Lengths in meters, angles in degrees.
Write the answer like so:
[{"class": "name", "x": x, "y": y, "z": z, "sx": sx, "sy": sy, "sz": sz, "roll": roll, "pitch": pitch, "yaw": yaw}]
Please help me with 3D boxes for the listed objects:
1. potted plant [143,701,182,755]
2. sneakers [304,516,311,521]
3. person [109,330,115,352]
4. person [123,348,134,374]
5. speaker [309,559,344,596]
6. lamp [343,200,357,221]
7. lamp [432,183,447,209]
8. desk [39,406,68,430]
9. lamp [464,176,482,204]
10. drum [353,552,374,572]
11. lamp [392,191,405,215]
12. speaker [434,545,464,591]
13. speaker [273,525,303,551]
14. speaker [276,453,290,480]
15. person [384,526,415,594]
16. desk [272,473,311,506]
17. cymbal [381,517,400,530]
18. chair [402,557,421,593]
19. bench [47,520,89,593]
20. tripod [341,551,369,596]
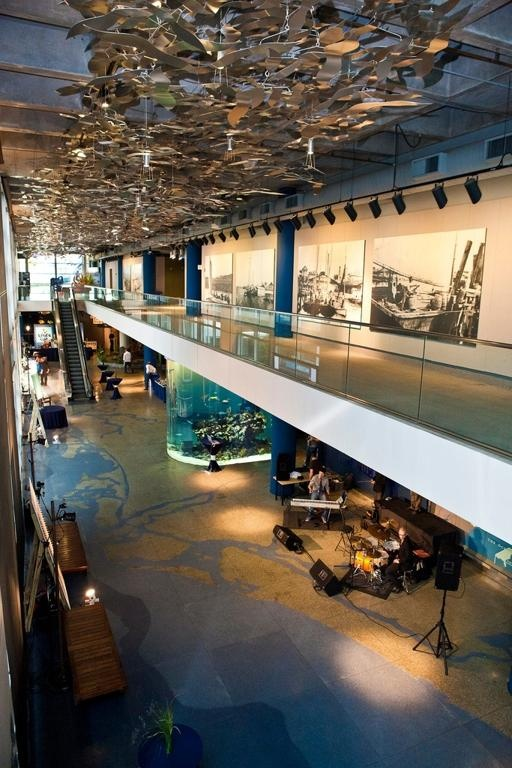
[{"class": "potted plant", "x": -0.973, "y": 3.557, "z": 5.319, "sx": 0.248, "sy": 0.382, "sz": 0.371, "roll": 7, "pitch": 25, "yaw": 29}, {"class": "sneakers", "x": 1.108, "y": 2.940, "z": 11.304, "sx": 0.067, "sy": 0.085, "sz": 0.200, "roll": 0, "pitch": -7, "yaw": 14}, {"class": "person", "x": -10.541, "y": -3.170, "z": 37.807, "sx": 0.398, "sy": 1.389, "sz": 1.053, "roll": -2, "pitch": 9, "yaw": -16}, {"class": "person", "x": -7.352, "y": -1.299, "z": 29.509, "sx": 0.373, "sy": 1.247, "sz": 1.933, "roll": -2, "pitch": 9, "yaw": -16}, {"class": "speaker", "x": 1.141, "y": 3.201, "z": 8.507, "sx": 0.278, "sy": 0.472, "sz": 0.434, "roll": -35, "pitch": -1, "yaw": -1}, {"class": "lamp", "x": 1.750, "y": -3.217, "z": 9.598, "sx": 0.168, "sy": 0.405, "sz": 0.718, "roll": 3, "pitch": 9, "yaw": 13}, {"class": "lamp", "x": 2.757, "y": -2.841, "z": 7.835, "sx": 0.187, "sy": 0.425, "sz": 0.976, "roll": 4, "pitch": 9, "yaw": 19}, {"class": "desk", "x": -7.008, "y": 1.197, "z": 17.971, "sx": 0.827, "sy": 0.657, "sz": 0.568, "roll": -3, "pitch": 10, "yaw": -23}, {"class": "lamp", "x": 2.877, "y": -2.597, "z": 6.910, "sx": 0.183, "sy": 0.344, "sz": 0.359, "roll": 4, "pitch": 9, "yaw": 21}, {"class": "drum", "x": 1.838, "y": 3.095, "z": 8.884, "sx": 0.331, "sy": 0.469, "sz": 0.315, "roll": 1, "pitch": 9, "yaw": 0}, {"class": "lamp", "x": 2.376, "y": -3.037, "z": 8.699, "sx": 0.196, "sy": 0.411, "sz": 0.959, "roll": 3, "pitch": 9, "yaw": 13}, {"class": "speaker", "x": 2.528, "y": 2.480, "z": 6.843, "sx": 0.289, "sy": 0.738, "sz": 0.576, "roll": 4, "pitch": 9, "yaw": 21}, {"class": "speaker", "x": 0.607, "y": 3.012, "z": 9.982, "sx": 0.407, "sy": 0.432, "sz": 0.734, "roll": 14, "pitch": -9, "yaw": 4}, {"class": "speaker", "x": 0.603, "y": 1.943, "z": 12.217, "sx": 0.341, "sy": 0.572, "sz": 0.362, "roll": 3, "pitch": 9, "yaw": 16}, {"class": "person", "x": 2.401, "y": 2.939, "z": 8.732, "sx": 0.451, "sy": 0.825, "sz": 0.753, "roll": 4, "pitch": 9, "yaw": 22}, {"class": "desk", "x": 0.816, "y": 2.252, "z": 12.373, "sx": 0.532, "sy": 0.532, "sz": 1.046, "roll": 6, "pitch": 8, "yaw": 22}, {"class": "cymbal", "x": 2.718, "y": 2.848, "z": 10.527, "sx": 0.160, "sy": 0.134, "sz": 0.252, "roll": 9, "pitch": 16, "yaw": -10}, {"class": "chair", "x": 2.607, "y": 3.258, "z": 8.714, "sx": 0.163, "sy": 0.294, "sz": 0.456, "roll": -14, "pitch": 32, "yaw": 7}, {"class": "bench", "x": -3.109, "y": 2.872, "z": 8.518, "sx": 0.461, "sy": 0.352, "sz": 1.596, "roll": -5, "pitch": 31, "yaw": -19}, {"class": "tripod", "x": 1.606, "y": 3.234, "z": 8.747, "sx": 0.369, "sy": 0.176, "sz": 0.572, "roll": 7, "pitch": 30, "yaw": 21}]
